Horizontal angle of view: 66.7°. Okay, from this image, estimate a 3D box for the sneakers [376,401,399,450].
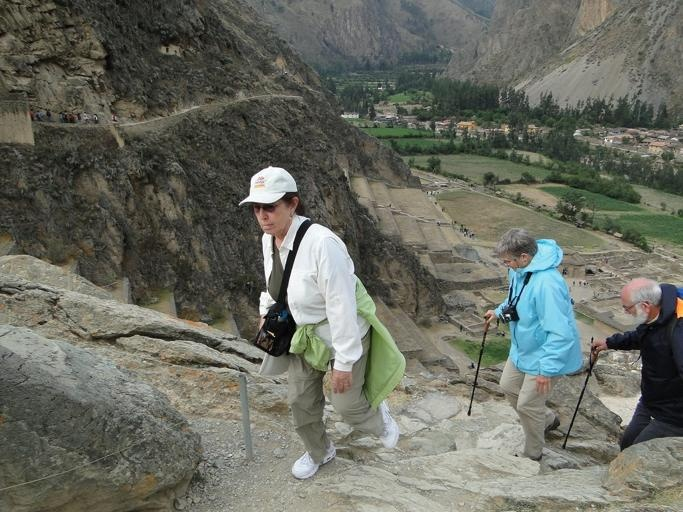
[{"bbox_3d":[0.466,1.734,5.362,0.189,0.217,0.548,-39,5,9],"label":"sneakers"}]

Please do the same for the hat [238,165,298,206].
[{"bbox_3d":[-0.621,-0.654,4.840,0.369,0.277,0.539,1,9,33],"label":"hat"}]

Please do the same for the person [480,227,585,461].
[{"bbox_3d":[2.250,1.018,5.961,0.604,2.600,0.864,-4,12,-19],"label":"person"}]

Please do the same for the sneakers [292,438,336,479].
[{"bbox_3d":[-0.299,2.039,5.202,0.441,0.183,0.201,-24,18,-37],"label":"sneakers"}]

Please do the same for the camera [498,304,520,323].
[{"bbox_3d":[1.976,0.665,6.055,0.209,0.191,0.085,-18,-25,40],"label":"camera"}]
